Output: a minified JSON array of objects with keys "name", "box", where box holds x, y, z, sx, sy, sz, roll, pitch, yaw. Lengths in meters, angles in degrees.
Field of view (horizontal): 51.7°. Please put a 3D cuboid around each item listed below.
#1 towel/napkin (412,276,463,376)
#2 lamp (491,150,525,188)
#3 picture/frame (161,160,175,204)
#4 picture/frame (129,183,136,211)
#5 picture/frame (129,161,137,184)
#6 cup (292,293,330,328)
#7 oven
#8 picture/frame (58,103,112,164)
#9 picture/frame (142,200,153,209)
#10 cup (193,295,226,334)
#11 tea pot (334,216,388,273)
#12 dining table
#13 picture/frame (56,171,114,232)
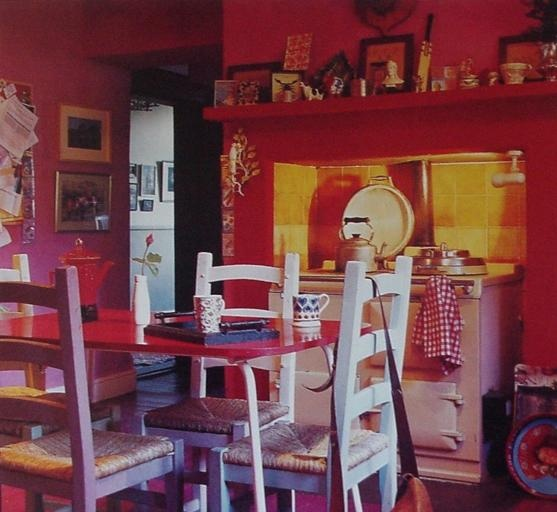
[{"name":"towel/napkin","box":[0.749,0.322,2.710,0.233,0.450,0.159,2,4,18]},{"name":"lamp","box":[1.195,-0.459,3.046,0.209,0.174,0.094,-3,11,6]},{"name":"picture/frame","box":[-1.531,-1.035,7.950,0.117,0.570,0.271,2,4,25]},{"name":"picture/frame","box":[-1.909,-0.777,7.546,0.055,0.355,0.107,2,4,26]},{"name":"picture/frame","box":[-1.890,-1.085,7.512,0.037,0.261,0.116,3,5,38]},{"name":"cup","box":[0.091,0.174,1.816,0.116,0.091,0.086,-6,-6,2]},{"name":"oven","box":[0.569,0.649,3.165,1.193,0.919,0.490,-3,-5,36]},{"name":"picture/frame","box":[-1.562,-0.985,4.618,0.516,0.388,0.048,13,17,26]},{"name":"picture/frame","box":[-1.768,-0.695,7.691,0.078,0.121,0.147,3,-1,33]},{"name":"cup","box":[-0.178,0.148,1.592,0.074,0.104,0.115,12,15,42]},{"name":"tea pot","box":[0.483,-0.068,3.287,0.348,0.298,0.210,5,12,44]},{"name":"dining table","box":[-0.231,0.476,1.630,1.023,0.433,0.551,-2,-4,29]},{"name":"picture/frame","box":[-1.575,-0.434,4.654,0.027,0.483,0.566,6,7,32]}]
